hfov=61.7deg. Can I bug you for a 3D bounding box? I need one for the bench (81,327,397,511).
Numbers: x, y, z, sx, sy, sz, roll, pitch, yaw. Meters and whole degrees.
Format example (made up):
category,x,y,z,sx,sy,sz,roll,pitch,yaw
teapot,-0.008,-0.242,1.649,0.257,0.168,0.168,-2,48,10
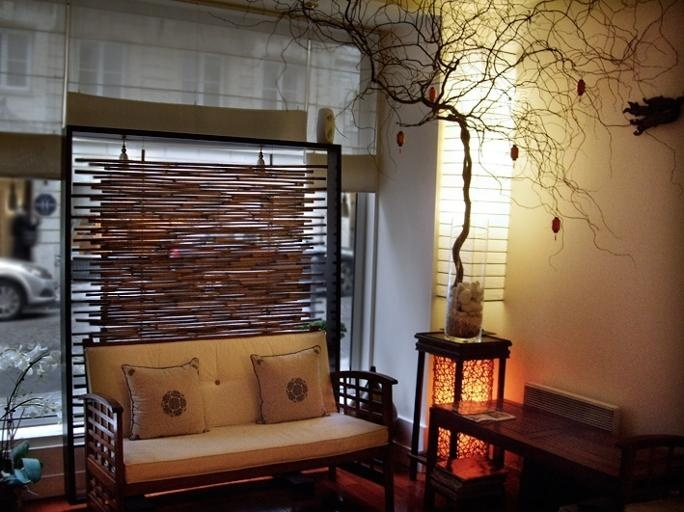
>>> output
category,x,y,z,sx,sy,sz,roll,pitch,yaw
bench,-0.692,1.155,3.824,1.881,1.202,0.880,-4,4,-25
